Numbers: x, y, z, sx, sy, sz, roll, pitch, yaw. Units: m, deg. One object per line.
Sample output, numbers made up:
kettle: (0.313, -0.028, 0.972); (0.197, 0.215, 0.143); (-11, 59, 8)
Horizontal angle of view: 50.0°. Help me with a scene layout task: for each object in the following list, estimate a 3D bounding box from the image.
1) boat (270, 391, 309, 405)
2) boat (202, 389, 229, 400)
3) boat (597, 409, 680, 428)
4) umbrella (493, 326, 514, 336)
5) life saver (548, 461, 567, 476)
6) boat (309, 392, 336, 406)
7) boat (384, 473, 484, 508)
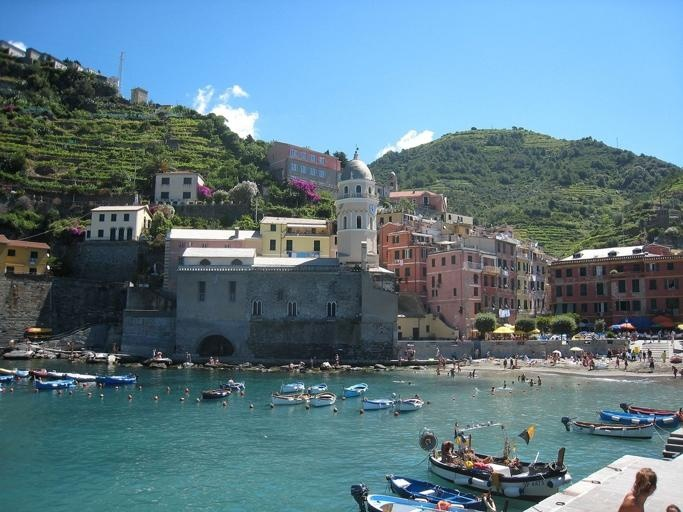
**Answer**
boat: (-5.470, 14.840, 75.888); (2.563, 1.010, 1.581); (2, -5, -22)
boat: (-13.355, 14.597, 77.267); (1.953, 0.515, 1.168); (3, 3, -26)
boat: (26.434, 14.743, 65.191); (6.035, 1.581, 2.132); (-4, -10, 17)
umbrella: (22.772, 10.451, 102.717); (1.936, 0.776, 1.854); (0, 1, -6)
life saver: (15.787, 15.458, 53.608); (1.136, 0.445, 0.877); (-6, 7, -36)
boat: (-2.033, 14.836, 75.689); (2.669, 0.983, 2.205); (-1, 5, -5)
boat: (6.475, 16.859, 52.411); (4.163, 1.110, 1.383); (4, -3, 35)
